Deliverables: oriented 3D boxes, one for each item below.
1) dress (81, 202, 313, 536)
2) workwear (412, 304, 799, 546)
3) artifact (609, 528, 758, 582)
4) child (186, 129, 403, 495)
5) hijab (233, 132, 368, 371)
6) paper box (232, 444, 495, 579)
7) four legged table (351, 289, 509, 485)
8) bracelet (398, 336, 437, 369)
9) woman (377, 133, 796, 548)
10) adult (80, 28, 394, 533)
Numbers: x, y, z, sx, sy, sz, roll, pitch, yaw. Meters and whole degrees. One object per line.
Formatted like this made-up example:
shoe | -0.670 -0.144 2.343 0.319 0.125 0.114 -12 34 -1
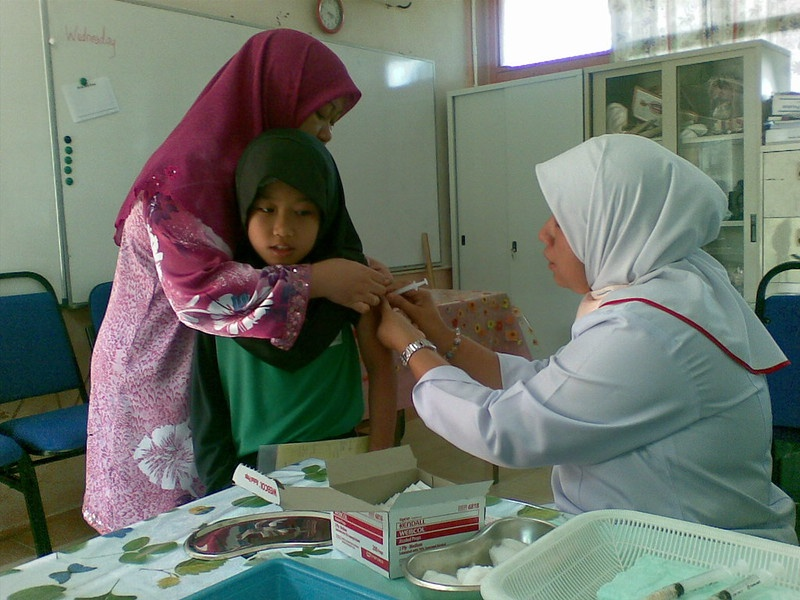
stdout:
dress | -0.448 0.092 1.863 0.721 0.975 0.695 -2 7 -21
workwear | 0.448 0.205 1.463 0.663 0.581 0.427 -7 18 29
artifact | 0.442 0.381 1.044 0.138 0.024 0.098 5 27 33
child | -0.238 0.053 1.537 0.404 0.906 0.268 -2 29 -5
hijab | -0.229 -0.111 1.467 0.305 0.511 0.197 -8 11 -7
paper box | -0.013 0.316 1.110 0.325 0.131 0.219 -7 9 -38
four legged table | 0.060 0.182 1.645 0.344 0.258 0.345 10 21 38
bracelet | 0.029 0.113 1.483 0.077 0.044 0.076 -18 -20 -29
woman | 0.500 -0.033 1.821 1.017 1.316 0.623 4 13 25
adult | -0.411 -0.031 1.690 0.804 1.193 0.734 5 9 -6
